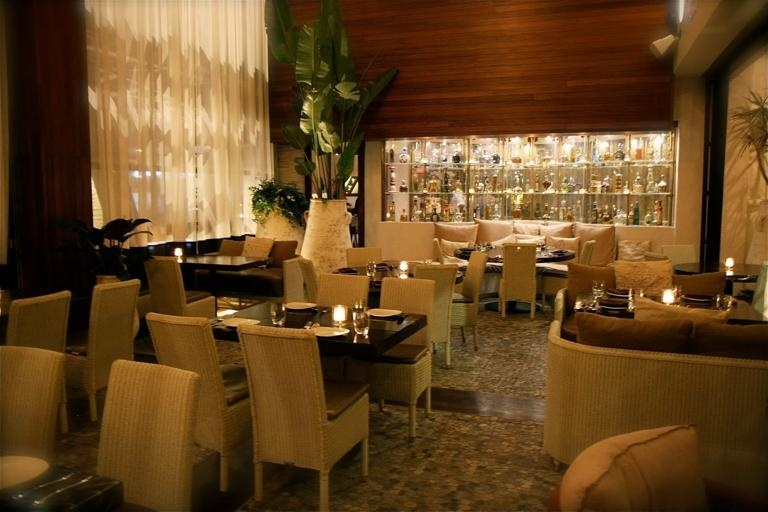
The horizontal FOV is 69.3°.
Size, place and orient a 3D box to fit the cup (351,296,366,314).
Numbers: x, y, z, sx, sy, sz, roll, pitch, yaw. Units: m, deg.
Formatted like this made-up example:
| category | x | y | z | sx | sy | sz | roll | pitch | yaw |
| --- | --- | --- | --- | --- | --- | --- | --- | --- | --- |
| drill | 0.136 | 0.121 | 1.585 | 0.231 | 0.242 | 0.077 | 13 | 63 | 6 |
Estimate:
| category | x | y | z | sx | sy | sz | roll | pitch | yaw |
| --- | --- | --- | --- | --- | --- | --- | --- | --- | --- |
| cup | -0.220 | 0.421 | 4.788 | 0.111 | 0.149 | 0.103 | 0 | 9 | 0 |

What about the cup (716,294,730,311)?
| category | x | y | z | sx | sy | sz | roll | pitch | yaw |
| --- | --- | --- | --- | --- | --- | --- | --- | --- | --- |
| cup | 3.023 | 0.410 | 4.948 | 0.144 | 0.126 | 0.130 | -1 | 4 | -10 |

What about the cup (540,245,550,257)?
| category | x | y | z | sx | sy | sz | roll | pitch | yaw |
| --- | --- | --- | --- | --- | --- | --- | --- | --- | --- |
| cup | 2.487 | -0.065 | 8.599 | 0.129 | 0.137 | 0.417 | 2 | 9 | 22 |

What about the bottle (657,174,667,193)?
| category | x | y | z | sx | sy | sz | roll | pitch | yaw |
| --- | --- | --- | --- | --- | --- | --- | --- | --- | --- |
| bottle | 4.723 | -1.222 | 9.434 | 0.149 | 0.287 | 0.128 | -2 | 14 | -6 |

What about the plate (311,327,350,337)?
| category | x | y | z | sx | sy | sz | roll | pitch | yaw |
| --- | --- | --- | --- | --- | --- | --- | --- | --- | --- |
| plate | -0.419 | 0.581 | 4.249 | 0.200 | 0.026 | 0.153 | 1 | 4 | 19 |

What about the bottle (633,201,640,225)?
| category | x | y | z | sx | sy | sz | roll | pitch | yaw |
| --- | --- | --- | --- | --- | --- | --- | --- | --- | --- |
| bottle | 4.350 | -0.737 | 9.593 | 0.133 | 0.370 | 0.112 | 3 | 15 | 14 |

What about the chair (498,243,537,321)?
| category | x | y | z | sx | sy | sz | roll | pitch | yaw |
| --- | --- | --- | --- | --- | --- | --- | --- | --- | --- |
| chair | 1.919 | 0.359 | 7.992 | 0.489 | 1.087 | 0.223 | 2 | 15 | 10 |

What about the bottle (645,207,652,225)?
| category | x | y | z | sx | sy | sz | roll | pitch | yaw |
| --- | --- | --- | --- | --- | --- | --- | --- | --- | --- |
| bottle | 4.564 | -0.668 | 9.596 | 0.091 | 0.228 | 0.096 | -1 | 14 | 0 |

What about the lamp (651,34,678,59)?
| category | x | y | z | sx | sy | sz | roll | pitch | yaw |
| --- | --- | --- | --- | --- | --- | --- | --- | --- | --- |
| lamp | 4.443 | -3.367 | 8.847 | 0.380 | 0.382 | 0.522 | 5 | 14 | 22 |

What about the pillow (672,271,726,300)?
| category | x | y | z | sx | sy | sz | roll | pitch | yaw |
| --- | --- | --- | --- | --- | --- | --- | --- | --- | --- |
| pillow | 3.146 | 0.273 | 5.513 | 0.375 | 0.118 | 0.346 | -16 | 13 | -26 |

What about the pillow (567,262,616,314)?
| category | x | y | z | sx | sy | sz | roll | pitch | yaw |
| --- | --- | --- | --- | --- | --- | --- | --- | --- | --- |
| pillow | 2.033 | 0.332 | 5.466 | 0.537 | 0.502 | 0.198 | 5 | -12 | 15 |

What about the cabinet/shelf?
| category | x | y | z | sx | sy | sz | roll | pitch | yaw |
| --- | --- | --- | --- | --- | --- | --- | --- | --- | --- |
| cabinet/shelf | 2.577 | -1.406 | 10.069 | 4.860 | 1.620 | 0.514 | 3 | 15 | 14 |

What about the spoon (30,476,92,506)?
| category | x | y | z | sx | sy | sz | roll | pitch | yaw |
| --- | --- | --- | --- | --- | --- | --- | --- | --- | --- |
| spoon | -1.468 | 1.068 | 2.533 | 0.136 | 0.025 | 0.215 | 3 | 12 | 14 |

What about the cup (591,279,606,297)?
| category | x | y | z | sx | sy | sz | roll | pitch | yaw |
| --- | --- | --- | --- | --- | --- | --- | --- | --- | --- |
| cup | 2.072 | 0.318 | 5.397 | 0.159 | 0.151 | 0.145 | -5 | 10 | -13 |

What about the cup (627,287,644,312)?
| category | x | y | z | sx | sy | sz | roll | pitch | yaw |
| --- | --- | --- | --- | --- | --- | --- | --- | --- | --- |
| cup | 2.229 | 0.394 | 4.937 | 0.169 | 0.267 | 0.162 | -3 | 7 | 0 |
